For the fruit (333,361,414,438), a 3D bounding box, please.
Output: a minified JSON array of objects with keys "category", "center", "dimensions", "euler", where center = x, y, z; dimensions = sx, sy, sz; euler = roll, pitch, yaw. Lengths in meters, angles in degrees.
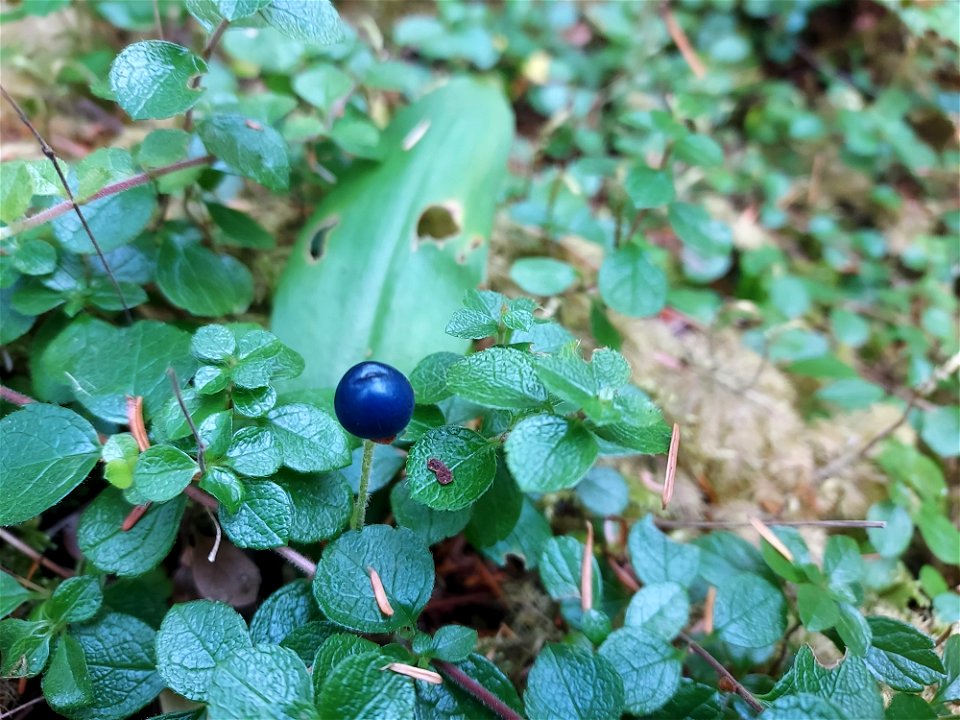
[{"category":"fruit","center":[-0.170,0.067,1.241],"dimensions":[0.116,0.112,0.132],"euler":[-4,89,-33]}]
